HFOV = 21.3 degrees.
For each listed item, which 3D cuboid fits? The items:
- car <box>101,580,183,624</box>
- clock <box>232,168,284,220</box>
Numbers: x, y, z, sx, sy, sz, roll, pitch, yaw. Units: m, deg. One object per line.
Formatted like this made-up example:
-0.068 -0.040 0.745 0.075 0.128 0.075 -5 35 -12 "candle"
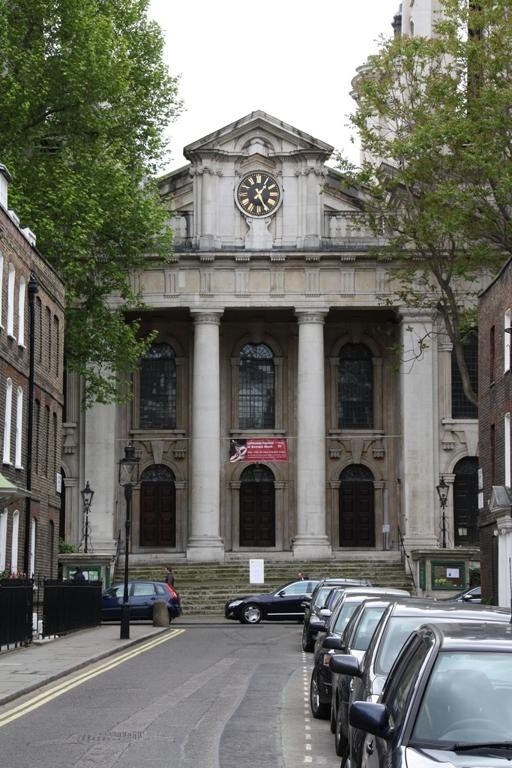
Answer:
-3.314 6.410 40.112 2.528 1.200 1.565 2 -7 4 "car"
0.183 -7.632 54.965 1.992 2.363 0.326 0 -3 5 "clock"
